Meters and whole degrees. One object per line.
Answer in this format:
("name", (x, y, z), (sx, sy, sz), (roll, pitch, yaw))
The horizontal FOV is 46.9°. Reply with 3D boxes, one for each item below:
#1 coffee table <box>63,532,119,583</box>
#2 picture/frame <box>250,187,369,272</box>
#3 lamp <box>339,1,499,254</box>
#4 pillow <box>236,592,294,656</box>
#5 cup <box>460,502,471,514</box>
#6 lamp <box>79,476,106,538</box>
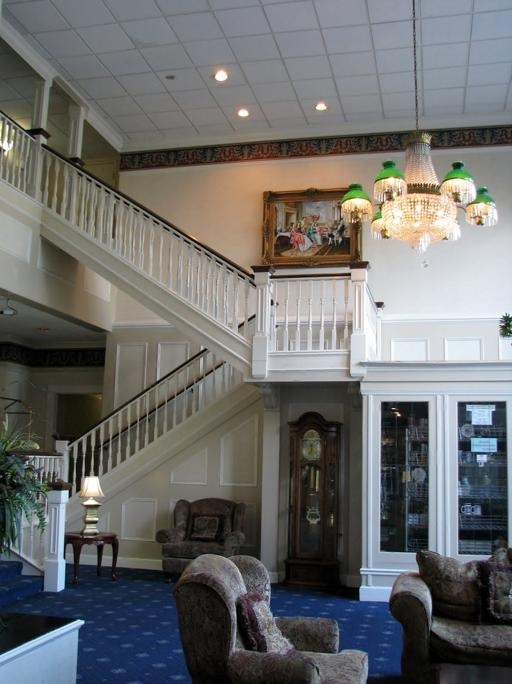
("coffee table", (-1.893, 2.436, 6.730), (0.617, 0.503, 0.627), (-4, -12, 29))
("picture/frame", (0.819, -1.638, 8.606), (1.723, 1.372, 0.141), (0, -2, 14))
("lamp", (1.541, -2.251, 6.100), (1.324, 3.214, 2.549), (-1, -13, 8))
("pillow", (0.006, 1.185, 2.470), (0.095, 0.301, 0.329), (-25, -28, 30))
("cup", (2.105, 1.669, 5.933), (0.123, 0.112, 0.075), (1, -7, 3))
("lamp", (-1.983, 1.923, 7.077), (0.244, 0.641, 0.970), (5, -13, -13))
